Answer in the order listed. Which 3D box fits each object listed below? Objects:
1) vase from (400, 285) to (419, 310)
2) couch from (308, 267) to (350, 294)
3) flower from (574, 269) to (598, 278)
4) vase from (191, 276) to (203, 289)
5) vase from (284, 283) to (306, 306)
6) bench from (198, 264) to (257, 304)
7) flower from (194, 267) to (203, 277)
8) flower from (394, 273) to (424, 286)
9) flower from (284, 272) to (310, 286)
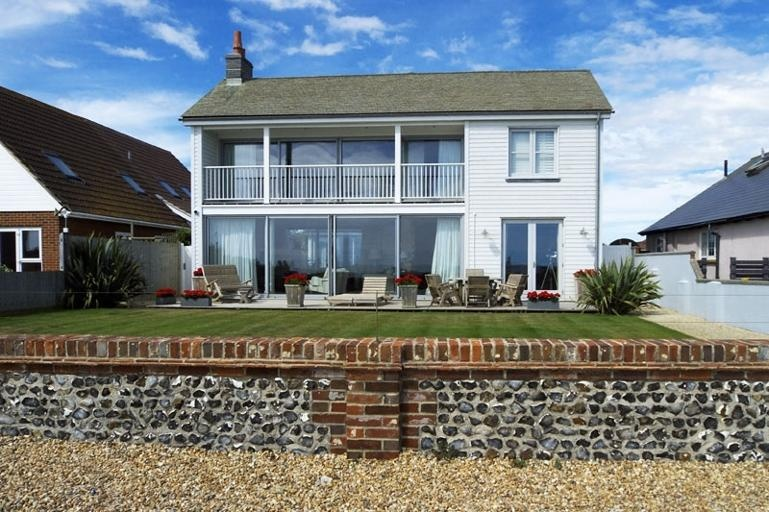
[{"bbox_3d":[0.935,1.624,32.831,0.840,0.892,0.832,-1,-2,4],"label":"vase"},{"bbox_3d":[-2.422,1.074,35.444,1.294,1.114,1.272,3,-2,-43],"label":"couch"},{"bbox_3d":[7.925,0.693,32.928,0.538,0.279,0.530,1,-2,-19],"label":"flower"},{"bbox_3d":[-7.814,1.134,34.389,0.626,0.588,0.621,1,-1,4],"label":"vase"},{"bbox_3d":[-3.632,1.603,33.460,0.981,0.944,0.792,0,-6,0],"label":"vase"},{"bbox_3d":[-6.582,1.185,34.343,1.481,1.366,1.966,0,2,-37],"label":"bench"},{"bbox_3d":[-7.851,0.720,34.656,0.353,0.338,0.348,-1,1,4],"label":"flower"},{"bbox_3d":[0.954,0.982,33.016,0.667,0.455,0.673,0,-2,6],"label":"flower"},{"bbox_3d":[-3.567,0.985,33.638,0.640,0.409,0.645,0,-4,4],"label":"flower"}]
